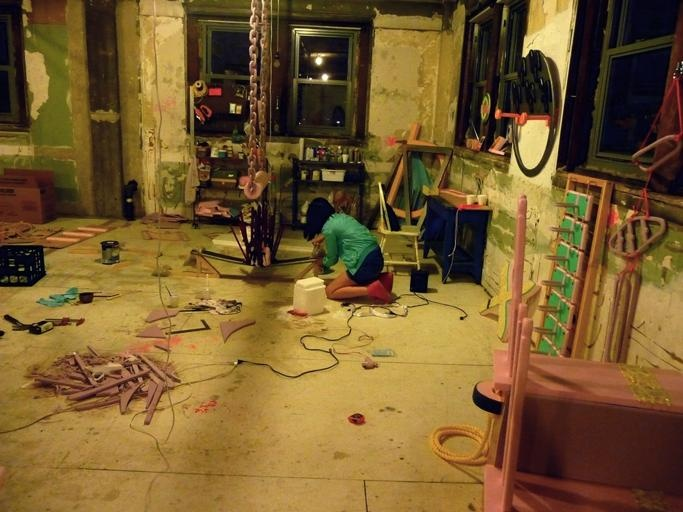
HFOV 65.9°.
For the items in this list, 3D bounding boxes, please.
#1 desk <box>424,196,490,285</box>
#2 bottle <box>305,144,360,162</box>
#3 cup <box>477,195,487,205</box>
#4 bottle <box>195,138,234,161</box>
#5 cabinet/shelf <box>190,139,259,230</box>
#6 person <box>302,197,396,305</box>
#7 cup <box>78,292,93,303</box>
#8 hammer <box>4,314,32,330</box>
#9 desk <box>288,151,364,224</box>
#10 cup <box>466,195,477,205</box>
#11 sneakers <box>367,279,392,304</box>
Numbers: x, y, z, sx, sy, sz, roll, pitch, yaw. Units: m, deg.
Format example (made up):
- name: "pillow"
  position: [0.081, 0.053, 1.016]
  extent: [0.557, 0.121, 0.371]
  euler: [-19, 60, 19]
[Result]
- name: "desk"
  position: [1.456, -0.185, 6.574]
  extent: [0.351, 0.622, 1.065]
  euler: [-1, 18, -2]
- name: "bottle"
  position: [-0.167, -1.695, 8.718]
  extent: [0.975, 0.292, 0.344]
  euler: [1, 13, -6]
- name: "cup"
  position: [1.661, -0.655, 6.196]
  extent: [0.109, 0.099, 0.115]
  euler: [-4, 11, 1]
- name: "bottle"
  position: [-2.068, -1.747, 8.595]
  extent: [0.458, 0.142, 0.434]
  euler: [3, 23, -1]
- name: "cabinet/shelf"
  position: [-2.061, -1.294, 8.753]
  extent: [1.004, 1.597, 0.537]
  euler: [-4, 7, -7]
- name: "person"
  position: [0.033, -0.123, 6.014]
  extent: [1.350, 1.097, 0.858]
  euler: [12, 16, 37]
- name: "cup"
  position: [-2.595, 0.421, 5.306]
  extent: [0.130, 0.090, 0.116]
  euler: [-4, 14, -26]
- name: "hammer"
  position: [-2.979, 0.607, 4.781]
  extent: [0.327, 0.029, 0.134]
  euler: [23, 21, 38]
- name: "desk"
  position: [-0.254, -1.404, 8.575]
  extent: [1.381, 1.325, 0.488]
  euler: [11, 41, 17]
- name: "cup"
  position: [1.537, -0.671, 6.262]
  extent: [0.127, 0.111, 0.103]
  euler: [1, 13, 4]
- name: "sneakers"
  position: [0.413, 0.369, 5.736]
  extent: [0.283, 0.250, 0.252]
  euler: [4, 13, 8]
